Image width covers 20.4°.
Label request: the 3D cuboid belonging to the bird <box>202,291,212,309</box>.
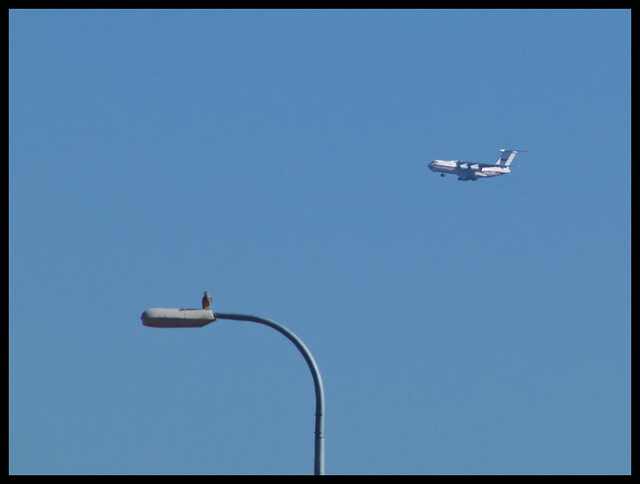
[{"bbox_3d":[-4.406,2.385,71.094,0.291,0.669,0.142,5,-1,18],"label":"bird"}]
